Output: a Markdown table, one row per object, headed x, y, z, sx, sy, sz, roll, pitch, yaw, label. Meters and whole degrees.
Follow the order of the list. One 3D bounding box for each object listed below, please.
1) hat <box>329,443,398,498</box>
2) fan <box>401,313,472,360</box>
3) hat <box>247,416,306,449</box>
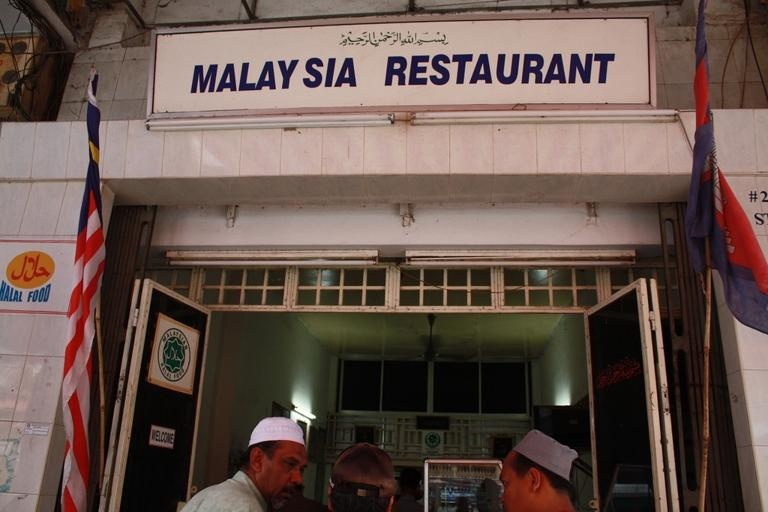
| x | y | z | sx | sy | sz | roll | pitch | yaw | label |
| --- | --- | --- | --- | --- | --- | --- | --- | --- | --- |
| -0.147 | 1.480 | 4.231 | 0.303 | 0.246 | 0.443 | 2 | -8 | -1 | hat |
| 0.815 | 1.362 | 10.580 | 0.876 | 0.900 | 0.879 | 5 | -8 | -10 | fan |
| -0.631 | 1.024 | 3.599 | 0.224 | 0.119 | 0.220 | 5 | -25 | -11 | hat |
